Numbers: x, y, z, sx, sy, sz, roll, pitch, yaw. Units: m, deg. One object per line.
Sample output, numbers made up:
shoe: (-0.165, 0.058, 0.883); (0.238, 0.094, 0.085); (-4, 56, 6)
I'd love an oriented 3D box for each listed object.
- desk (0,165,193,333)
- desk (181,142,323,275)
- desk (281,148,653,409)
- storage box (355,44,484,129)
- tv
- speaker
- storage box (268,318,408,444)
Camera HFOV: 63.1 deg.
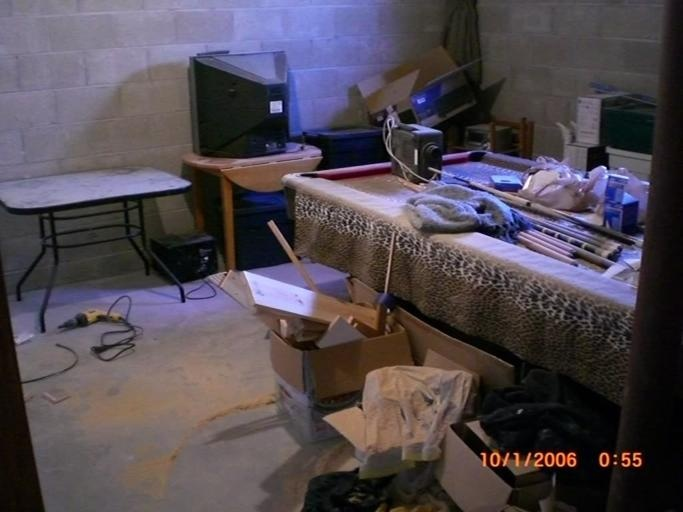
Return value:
desk: (-1.683, -0.119, 3.851); (1.174, 0.868, 0.943); (-16, 23, -28)
desk: (-0.634, -0.331, 3.894); (0.889, 0.593, 0.477); (-14, 33, -28)
desk: (0.483, 0.031, 2.410); (0.548, 0.540, 1.720); (-21, 25, -36)
storage box: (0.665, -1.399, 4.890); (0.901, 0.558, 0.861); (-30, 19, 0)
tv: (-0.741, -1.079, 3.999); (0.714, 0.657, 0.418); (-3, 27, -12)
speaker: (-1.180, -0.033, 4.166); (0.392, 0.283, 0.391); (-17, 25, -35)
storage box: (-0.030, 0.531, 2.577); (0.598, 0.417, 0.462); (-12, 19, -25)
